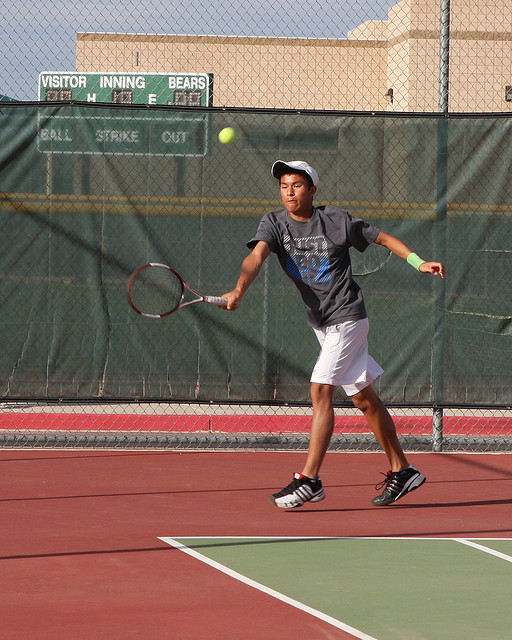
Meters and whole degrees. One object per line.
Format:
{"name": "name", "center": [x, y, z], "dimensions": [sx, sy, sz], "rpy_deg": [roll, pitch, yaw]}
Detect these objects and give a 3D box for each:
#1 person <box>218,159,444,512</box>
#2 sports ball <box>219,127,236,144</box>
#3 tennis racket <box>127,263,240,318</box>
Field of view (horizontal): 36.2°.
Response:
{"name": "person", "center": [0.396, 0.099, 3.869], "dimensions": [0.961, 1.773, 0.564], "rpy_deg": [2, 2, 1]}
{"name": "sports ball", "center": [-0.193, -1.213, 5.149], "dimensions": [0.106, 0.116, 0.108], "rpy_deg": [9, 24, -4]}
{"name": "tennis racket", "center": [-0.396, -0.131, 4.563], "dimensions": [0.061, 0.295, 0.833], "rpy_deg": [8, -3, 41]}
